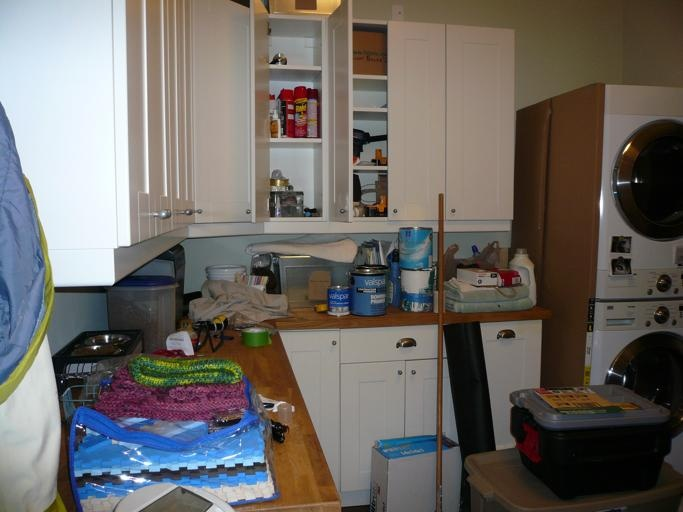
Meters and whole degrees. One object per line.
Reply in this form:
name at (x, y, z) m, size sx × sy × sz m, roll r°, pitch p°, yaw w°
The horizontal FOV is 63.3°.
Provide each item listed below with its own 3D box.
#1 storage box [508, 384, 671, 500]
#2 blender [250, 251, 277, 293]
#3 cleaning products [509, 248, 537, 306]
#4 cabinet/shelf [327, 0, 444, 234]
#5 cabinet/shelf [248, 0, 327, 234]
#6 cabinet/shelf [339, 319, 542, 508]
storage box at (0.939, 0.656, 2.130) m, size 0.485 × 0.301 × 0.361 m, roll -2°, pitch 2°, yaw -14°
blender at (-0.433, 0.098, 3.001) m, size 0.171 × 0.204 × 0.206 m, roll 1°, pitch 8°, yaw 12°
cleaning products at (1.002, 0.115, 3.066) m, size 0.143 × 0.298 × 0.211 m, roll 2°, pitch 8°, yaw 17°
cabinet/shelf at (0.238, -0.761, 3.093) m, size 0.633 × 1.120 × 0.570 m, roll -2°, pitch 8°, yaw -13°
cabinet/shelf at (-0.264, -0.726, 2.990) m, size 0.396 × 1.143 × 0.649 m, roll -1°, pitch 8°, yaw -2°
cabinet/shelf at (0.419, 0.764, 2.672) m, size 0.965 × 0.821 × 0.376 m, roll 0°, pitch -3°, yaw -8°
